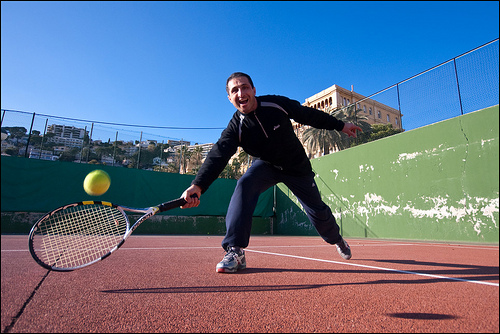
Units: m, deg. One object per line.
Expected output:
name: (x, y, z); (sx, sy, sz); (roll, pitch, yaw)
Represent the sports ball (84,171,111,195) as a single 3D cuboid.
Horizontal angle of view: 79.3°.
sports ball: (-3.372, 0.291, 6.489); (0.553, 0.295, 0.564); (10, 2, 0)
